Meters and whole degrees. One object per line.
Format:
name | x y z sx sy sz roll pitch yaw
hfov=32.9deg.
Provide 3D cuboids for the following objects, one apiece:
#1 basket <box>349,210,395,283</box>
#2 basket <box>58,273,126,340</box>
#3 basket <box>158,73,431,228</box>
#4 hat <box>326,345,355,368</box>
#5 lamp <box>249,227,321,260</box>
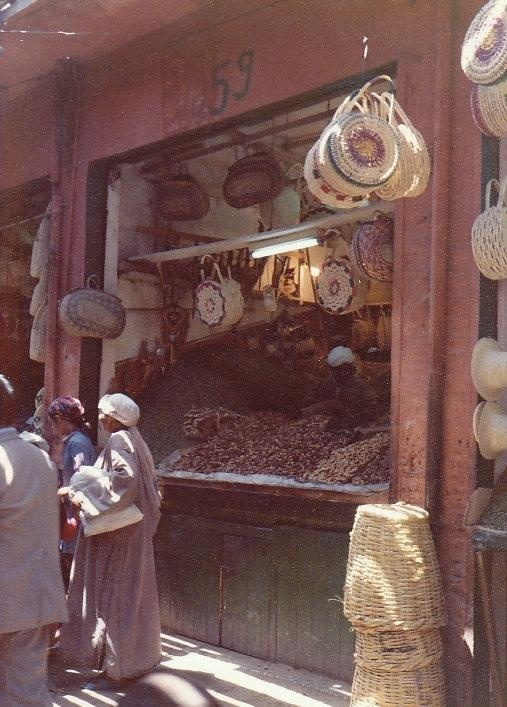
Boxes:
basket | 0.662 -0.604 4.853 0.341 0.343 0.343 3 13 0
basket | -1.135 -0.342 6.132 0.462 0.431 0.237 8 -12 -34
basket | 0.321 -0.860 3.572 0.714 0.451 0.686 -17 24 4
hat | 0.602 0.025 5.877 0.164 0.137 0.208 0 5 -29
lamp | 0.194 -0.672 5.353 0.129 0.124 0.605 0 5 -33
